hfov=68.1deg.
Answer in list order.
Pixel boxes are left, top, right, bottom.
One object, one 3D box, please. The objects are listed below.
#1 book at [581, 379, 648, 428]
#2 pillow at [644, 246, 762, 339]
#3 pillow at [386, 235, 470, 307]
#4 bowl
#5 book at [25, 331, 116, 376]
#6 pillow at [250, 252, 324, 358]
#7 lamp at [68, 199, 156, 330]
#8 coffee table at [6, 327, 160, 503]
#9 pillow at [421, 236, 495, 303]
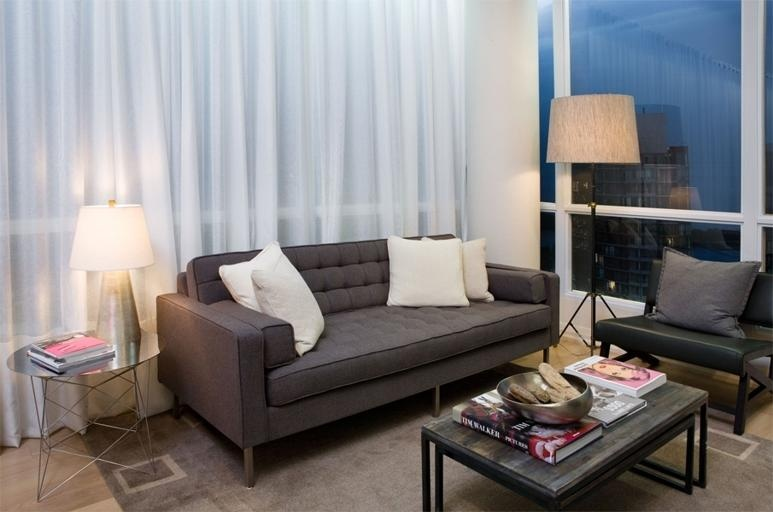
[{"bbox_3d":[1.162,0.773,2.955,0.233,0.033,0.242,-12,19,-34],"label":"book"},{"bbox_3d":[2.183,0.258,4.010,0.337,0.531,0.659,0,7,-35],"label":"pillow"},{"bbox_3d":[0.311,0.128,4.277,0.502,0.455,0.188,1,-14,-1],"label":"pillow"},{"bbox_3d":[0.817,0.720,2.889,0.435,0.148,0.447,-9,10,2],"label":"bowl"},{"bbox_3d":[-1.712,0.497,3.195,0.275,0.063,0.272,8,8,33],"label":"book"},{"bbox_3d":[-0.608,0.320,3.732,0.415,0.516,0.751,1,8,-2],"label":"pillow"},{"bbox_3d":[-1.680,0.067,3.532,0.449,0.807,0.239,-10,12,-30],"label":"lamp"},{"bbox_3d":[-1.857,0.914,3.524,0.975,0.703,0.861,1,1,-13],"label":"coffee table"},{"bbox_3d":[0.654,0.121,4.604,0.194,0.503,0.516,13,-18,-15],"label":"pillow"}]
